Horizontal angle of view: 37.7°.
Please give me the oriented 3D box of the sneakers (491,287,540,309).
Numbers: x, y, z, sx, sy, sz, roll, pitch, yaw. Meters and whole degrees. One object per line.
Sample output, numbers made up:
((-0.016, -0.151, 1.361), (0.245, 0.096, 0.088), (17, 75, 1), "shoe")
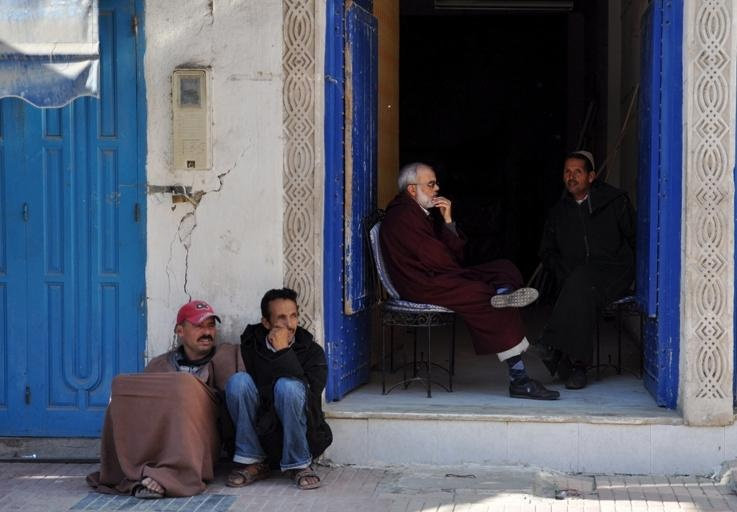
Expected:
((1.093, 0.325, 8.310), (0.402, 0.153, 0.175), (-5, 10, 34), "sneakers")

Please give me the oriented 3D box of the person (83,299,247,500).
((-1.501, 1.163, 7.943), (1.142, 1.562, 1.245), (-3, -20, 13), "person")

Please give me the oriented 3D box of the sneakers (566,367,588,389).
((1.658, 0.950, 8.535), (0.137, 0.153, 0.265), (2, 7, 37), "sneakers")

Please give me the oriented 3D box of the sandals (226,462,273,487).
((-0.845, 1.542, 7.611), (0.318, 0.125, 0.116), (2, -3, -44), "sandals")

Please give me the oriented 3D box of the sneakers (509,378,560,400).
((1.264, 1.006, 8.207), (0.384, 0.154, 0.149), (0, -3, 11), "sneakers")

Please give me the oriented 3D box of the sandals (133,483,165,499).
((-1.498, 1.598, 7.374), (0.245, 0.098, 0.084), (-1, -2, 16), "sandals")

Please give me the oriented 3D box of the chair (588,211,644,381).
((2.004, 0.371, 8.931), (0.493, 1.155, 0.488), (12, 13, 41), "chair")

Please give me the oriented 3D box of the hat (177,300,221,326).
((-1.243, 0.421, 7.795), (0.173, 0.124, 0.234), (7, -23, -43), "hat")

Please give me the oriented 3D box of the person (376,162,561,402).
((0.713, 0.163, 8.501), (1.245, 1.804, 0.634), (-1, 6, 12), "person")

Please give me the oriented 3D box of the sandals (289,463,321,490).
((-0.444, 1.534, 7.525), (0.200, 0.151, 0.130), (-3, 6, -3), "sandals")
